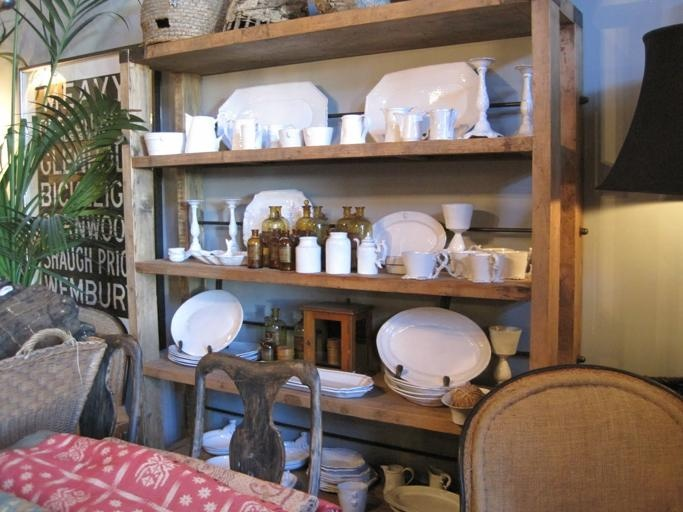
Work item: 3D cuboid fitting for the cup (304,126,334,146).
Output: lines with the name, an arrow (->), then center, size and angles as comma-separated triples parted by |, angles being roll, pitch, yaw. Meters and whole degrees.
cup -> -0.097, -0.474, 2.471 | 0.091, 0.057, 0.092 | 1, 6, 0

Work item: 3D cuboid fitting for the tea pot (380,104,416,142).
tea pot -> 0.199, -0.508, 2.331 | 0.130, 0.127, 0.106 | 7, 9, 40

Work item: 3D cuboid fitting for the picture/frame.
picture/frame -> -1.326, -0.359, 3.170 | 0.400, 1.399, 1.233 | 0, 2, -39

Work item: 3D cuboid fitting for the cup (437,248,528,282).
cup -> 0.533, 0.033, 2.274 | 0.317, 0.119, 0.223 | 2, 1, 18

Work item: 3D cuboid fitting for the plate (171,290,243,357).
plate -> -0.636, 0.308, 2.868 | 0.309, 0.313, 0.055 | -9, -23, 20

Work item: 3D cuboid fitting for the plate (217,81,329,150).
plate -> -0.286, -0.670, 2.802 | 0.437, 0.322, 0.063 | -2, -11, 29

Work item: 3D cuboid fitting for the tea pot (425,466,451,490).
tea pot -> 0.397, 0.899, 2.475 | 0.089, 0.089, 0.055 | -2, 0, 40

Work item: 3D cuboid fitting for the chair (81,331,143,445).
chair -> -0.810, 0.416, 2.057 | 0.217, 0.374, 0.364 | 6, -6, -24

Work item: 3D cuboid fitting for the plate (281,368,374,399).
plate -> -0.026, 0.518, 2.504 | 0.291, 0.043, 0.192 | 1, 4, 36

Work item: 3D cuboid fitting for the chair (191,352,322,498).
chair -> -0.279, 0.507, 1.914 | 0.489, 0.387, 0.196 | 3, 2, 44

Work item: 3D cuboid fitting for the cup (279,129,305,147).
cup -> -0.202, -0.480, 2.471 | 0.070, 0.060, 0.088 | -6, -10, 41

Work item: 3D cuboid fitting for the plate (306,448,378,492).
plate -> 0.012, 0.901, 2.603 | 0.223, 0.075, 0.224 | 0, 1, -6

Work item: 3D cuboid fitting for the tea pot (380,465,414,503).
tea pot -> 0.233, 0.941, 2.538 | 0.143, 0.141, 0.096 | 0, -1, 27

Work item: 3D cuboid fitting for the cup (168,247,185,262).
cup -> -0.785, -0.005, 2.871 | 0.068, 0.053, 0.068 | -1, -2, 0

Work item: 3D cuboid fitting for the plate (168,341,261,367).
plate -> -0.544, 0.411, 2.552 | 0.182, 0.042, 0.181 | -2, 4, -30

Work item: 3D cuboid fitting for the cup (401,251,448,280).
cup -> 0.320, 0.034, 2.316 | 0.142, 0.090, 0.101 | 5, -2, 3

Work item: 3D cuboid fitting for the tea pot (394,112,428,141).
tea pot -> 0.273, -0.489, 2.335 | 0.086, 0.119, 0.136 | 0, 2, -27

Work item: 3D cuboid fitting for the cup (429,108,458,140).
cup -> 0.364, -0.478, 2.211 | 0.118, 0.111, 0.099 | 1, -1, 1

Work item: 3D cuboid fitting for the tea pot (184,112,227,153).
tea pot -> -0.620, -0.541, 2.690 | 0.197, 0.181, 0.142 | 3, 1, -1

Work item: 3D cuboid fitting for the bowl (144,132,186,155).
bowl -> -0.813, -0.498, 2.772 | 0.138, 0.067, 0.127 | 1, 8, 0

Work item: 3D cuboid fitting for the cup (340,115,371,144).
cup -> 0.026, -0.506, 2.441 | 0.135, 0.132, 0.085 | 3, 3, 38
